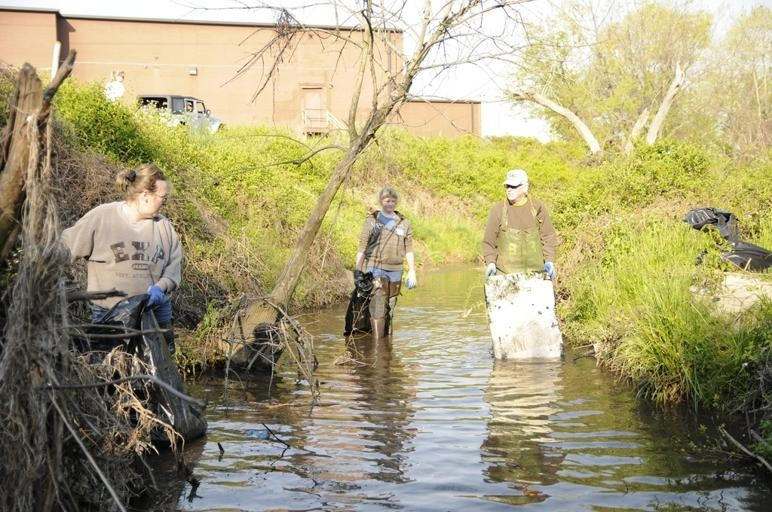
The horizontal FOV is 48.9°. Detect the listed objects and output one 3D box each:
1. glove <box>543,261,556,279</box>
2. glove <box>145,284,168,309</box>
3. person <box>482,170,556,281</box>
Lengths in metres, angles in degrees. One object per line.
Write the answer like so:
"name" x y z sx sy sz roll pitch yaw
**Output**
"glove" 2.844 0.258 14.692 0.175 0.290 0.069 -2 3 15
"glove" -3.005 0.546 11.062 0.206 0.274 0.125 -2 -26 -30
"person" 2.306 -0.545 14.652 1.257 1.817 0.487 -1 11 4
